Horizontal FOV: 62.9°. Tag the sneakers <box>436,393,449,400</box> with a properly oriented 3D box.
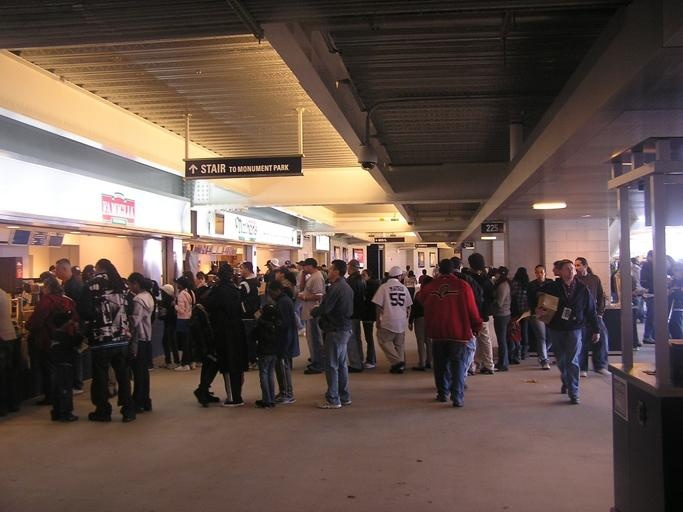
[{"bbox_3d":[1.447,2.001,8.032,0.176,0.127,0.263,-4,-3,9],"label":"sneakers"}]

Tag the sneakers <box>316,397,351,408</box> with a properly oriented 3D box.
[{"bbox_3d":[-0.097,2.067,7.835,0.458,0.190,0.163,4,-7,-3],"label":"sneakers"}]

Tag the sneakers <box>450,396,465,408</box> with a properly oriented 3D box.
[{"bbox_3d":[1.601,2.014,7.701,0.174,0.216,0.122,1,-38,4],"label":"sneakers"}]

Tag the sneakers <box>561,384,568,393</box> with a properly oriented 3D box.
[{"bbox_3d":[3.271,1.950,8.173,0.073,0.134,0.304,-5,-3,16],"label":"sneakers"}]

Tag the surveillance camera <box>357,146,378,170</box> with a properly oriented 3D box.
[{"bbox_3d":[0.402,-1.480,8.331,0.319,0.460,0.315,-2,-5,5],"label":"surveillance camera"}]

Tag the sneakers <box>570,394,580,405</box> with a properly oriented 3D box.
[{"bbox_3d":[3.232,1.954,7.730,0.128,0.139,0.164,-5,-3,21],"label":"sneakers"}]
